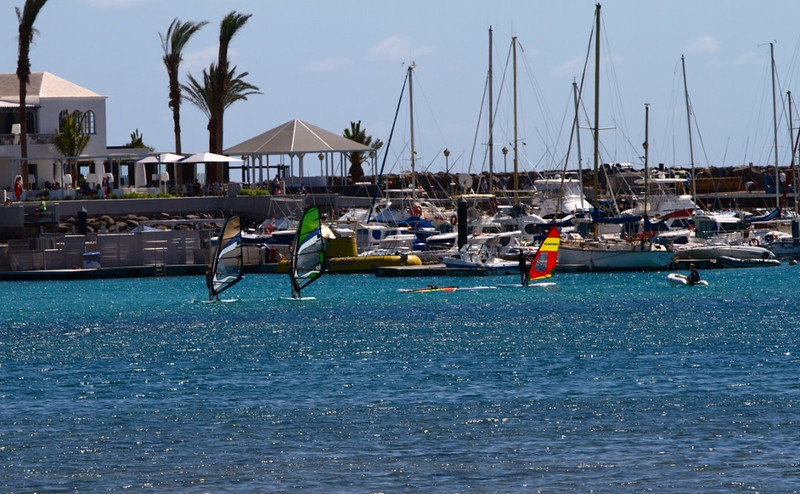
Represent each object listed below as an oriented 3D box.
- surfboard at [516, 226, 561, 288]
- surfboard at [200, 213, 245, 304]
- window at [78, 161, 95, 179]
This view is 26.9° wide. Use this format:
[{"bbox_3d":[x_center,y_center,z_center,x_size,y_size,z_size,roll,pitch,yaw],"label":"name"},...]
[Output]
[{"bbox_3d":[7.945,0.640,94.168,1.137,2.639,2.653,28,-44,-11],"label":"surfboard"},{"bbox_3d":[-8.774,0.380,84.618,1.651,4.010,3.321,-1,1,-10],"label":"surfboard"},{"bbox_3d":[-21.464,-5.380,114.990,1.499,1.376,0.826,0,-1,4],"label":"window"}]
